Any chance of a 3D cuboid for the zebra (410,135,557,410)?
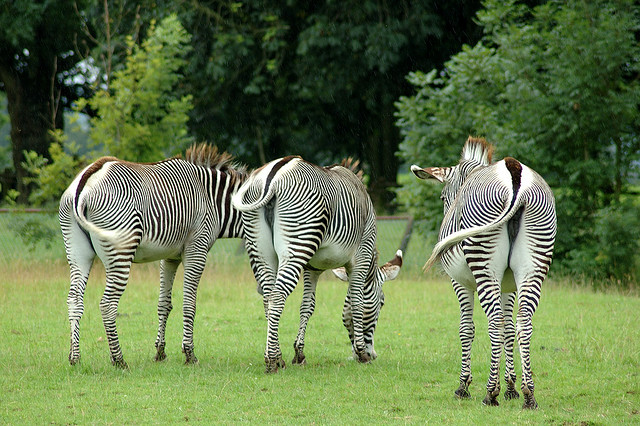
[{"bbox_3d":[3.914,1.231,26.117,2.678,6.084,1.336,3,-2,15],"label":"zebra"}]
